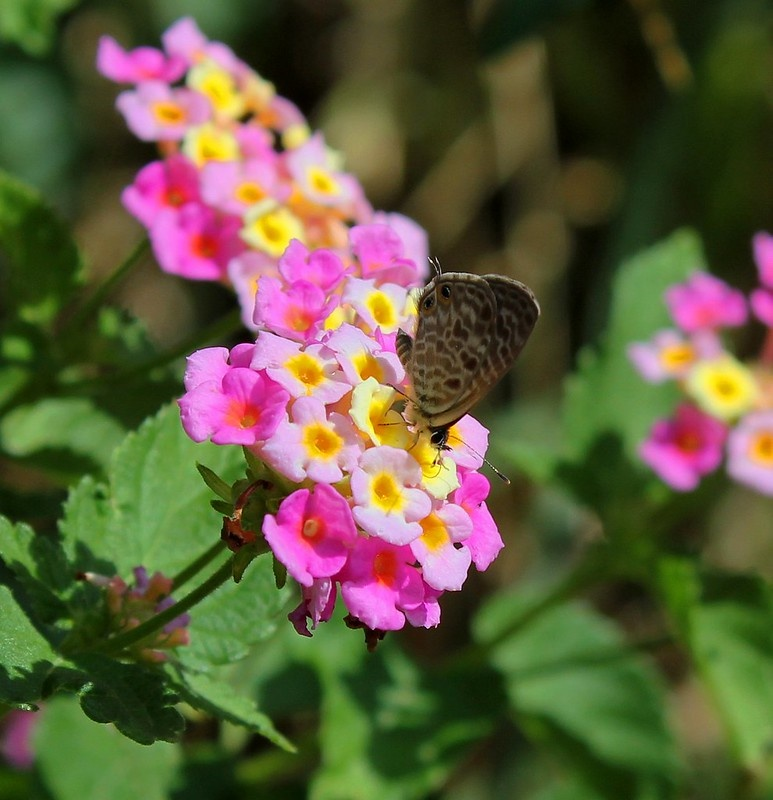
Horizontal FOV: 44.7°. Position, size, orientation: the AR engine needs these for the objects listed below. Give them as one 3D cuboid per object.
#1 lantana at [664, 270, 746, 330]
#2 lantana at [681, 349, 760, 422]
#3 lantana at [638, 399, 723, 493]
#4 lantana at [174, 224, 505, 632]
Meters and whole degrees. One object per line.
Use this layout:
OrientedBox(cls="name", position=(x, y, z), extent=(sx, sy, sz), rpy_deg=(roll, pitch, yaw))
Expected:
OrientedBox(cls="lantana", position=(0.891, -0.279, 2.610), extent=(0.194, 0.090, 0.183), rpy_deg=(-10, 78, -2))
OrientedBox(cls="lantana", position=(0.893, -0.042, 2.475), extent=(0.178, 0.118, 0.180), rpy_deg=(-33, 80, -6))
OrientedBox(cls="lantana", position=(0.794, 0.127, 2.504), extent=(0.190, 0.172, 0.188), rpy_deg=(-33, 80, -6))
OrientedBox(cls="lantana", position=(-0.070, 0.041, 1.635), extent=(0.487, 0.408, 0.744), rpy_deg=(-21, 79, -4))
